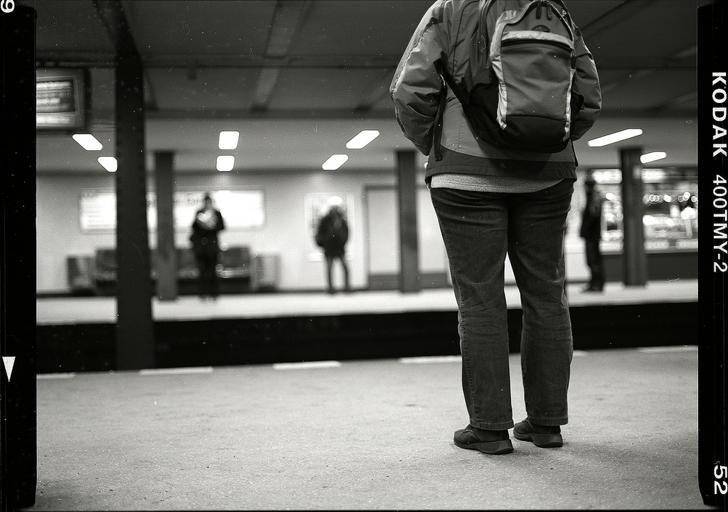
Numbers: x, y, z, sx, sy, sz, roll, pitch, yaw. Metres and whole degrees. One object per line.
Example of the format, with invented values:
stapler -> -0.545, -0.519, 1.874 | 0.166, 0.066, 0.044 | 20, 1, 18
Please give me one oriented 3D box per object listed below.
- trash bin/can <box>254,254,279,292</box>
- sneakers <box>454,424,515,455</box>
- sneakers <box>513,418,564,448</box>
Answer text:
trash bin/can -> -0.626, 0.110, 4.850 | 0.175, 0.246, 0.161 | -1, 5, -12
sneakers -> 0.465, 0.729, 2.983 | 0.094, 0.104, 0.211 | 2, 1, -35
sneakers -> 0.700, 0.721, 3.064 | 0.087, 0.124, 0.194 | -1, 4, -19
